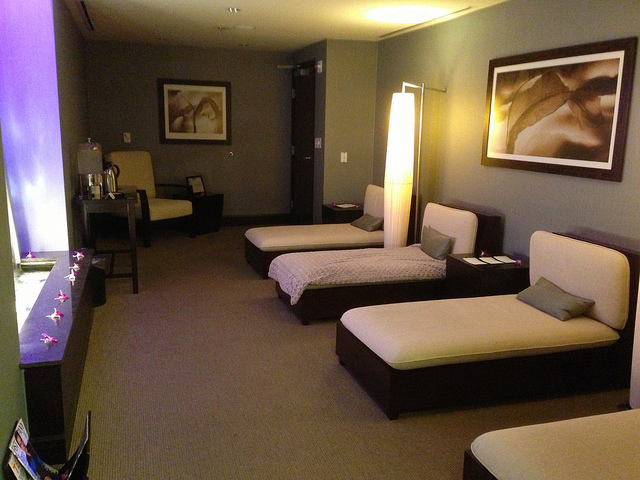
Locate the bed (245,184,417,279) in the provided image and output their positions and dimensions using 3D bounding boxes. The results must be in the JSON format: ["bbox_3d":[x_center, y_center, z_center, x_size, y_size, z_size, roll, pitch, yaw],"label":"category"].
[{"bbox_3d":[0.011,-0.111,5.846,1.656,1.040,1.123,-3,12,-16],"label":"bed"}]

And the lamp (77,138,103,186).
[{"bbox_3d":[-2.348,-0.792,4.919,0.237,0.443,0.269,-9,17,-27],"label":"lamp"}]

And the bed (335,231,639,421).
[{"bbox_3d":[1.148,0.372,3.442,1.675,0.987,1.147,-4,11,-16],"label":"bed"}]

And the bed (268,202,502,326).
[{"bbox_3d":[0.574,-0.018,4.779,1.747,0.963,1.172,-4,11,-15],"label":"bed"}]

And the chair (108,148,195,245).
[{"bbox_3d":[-2.427,-0.678,7.195,1.124,1.278,1.211,-12,19,-34],"label":"chair"}]

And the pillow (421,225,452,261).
[{"bbox_3d":[1.169,0.039,4.931,0.144,0.293,0.494,11,12,-17],"label":"pillow"}]
